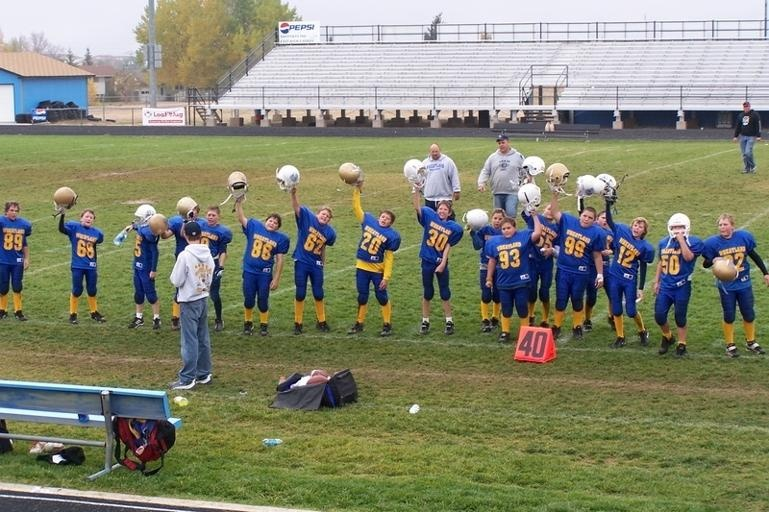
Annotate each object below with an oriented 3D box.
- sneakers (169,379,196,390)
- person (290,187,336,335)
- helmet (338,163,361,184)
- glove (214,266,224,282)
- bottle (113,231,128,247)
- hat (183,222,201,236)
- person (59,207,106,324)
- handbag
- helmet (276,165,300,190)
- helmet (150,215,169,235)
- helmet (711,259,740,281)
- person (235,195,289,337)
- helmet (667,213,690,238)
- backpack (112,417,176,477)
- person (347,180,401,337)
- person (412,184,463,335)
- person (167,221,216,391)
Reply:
[{"bbox_3d":[-3.173,2.001,16.093,0.428,0.179,0.153,5,3,-6],"label":"sneakers"},{"bbox_3d":[-1.270,0.093,18.293,0.756,2.548,1.069,-2,2,-5],"label":"person"},{"bbox_3d":[-0.607,-1.429,18.017,0.401,0.367,0.472,1,7,-2],"label":"helmet"},{"bbox_3d":[-2.915,0.328,18.134,0.094,0.244,0.187,17,-16,-37],"label":"glove"},{"bbox_3d":[-5.342,-0.326,20.656,0.296,0.280,0.110,-2,-23,29],"label":"bottle"},{"bbox_3d":[-2.961,-0.412,15.735,0.310,0.209,0.208,-3,3,-31],"label":"hat"},{"bbox_3d":[-5.590,0.187,18.930,0.736,2.052,0.903,-2,2,-16],"label":"person"},{"bbox_3d":[-1.054,2.080,15.633,0.768,0.295,0.757,-1,2,25],"label":"handbag"},{"bbox_3d":[-1.686,-1.341,17.907,0.339,0.441,0.514,-1,2,0],"label":"helmet"},{"bbox_3d":[-3.892,-0.553,17.708,0.286,0.336,0.349,17,-36,-5],"label":"helmet"},{"bbox_3d":[5.450,0.211,16.470,0.318,0.318,0.402,-16,20,-26],"label":"helmet"},{"bbox_3d":[-2.128,0.319,18.174,0.840,2.161,0.728,-2,2,-6],"label":"person"},{"bbox_3d":[4.816,-0.495,16.961,0.404,0.387,0.525,-1,-1,23],"label":"helmet"},{"bbox_3d":[-3.286,2.564,14.033,0.842,0.772,0.406,4,3,18],"label":"backpack"},{"bbox_3d":[-0.194,0.070,18.226,0.890,2.653,0.848,-1,2,-2],"label":"person"},{"bbox_3d":[0.965,0.070,18.296,0.806,2.628,1.076,-1,2,2],"label":"person"},{"bbox_3d":[-3.051,0.774,15.988,0.634,2.616,0.718,-1,2,9],"label":"person"}]
